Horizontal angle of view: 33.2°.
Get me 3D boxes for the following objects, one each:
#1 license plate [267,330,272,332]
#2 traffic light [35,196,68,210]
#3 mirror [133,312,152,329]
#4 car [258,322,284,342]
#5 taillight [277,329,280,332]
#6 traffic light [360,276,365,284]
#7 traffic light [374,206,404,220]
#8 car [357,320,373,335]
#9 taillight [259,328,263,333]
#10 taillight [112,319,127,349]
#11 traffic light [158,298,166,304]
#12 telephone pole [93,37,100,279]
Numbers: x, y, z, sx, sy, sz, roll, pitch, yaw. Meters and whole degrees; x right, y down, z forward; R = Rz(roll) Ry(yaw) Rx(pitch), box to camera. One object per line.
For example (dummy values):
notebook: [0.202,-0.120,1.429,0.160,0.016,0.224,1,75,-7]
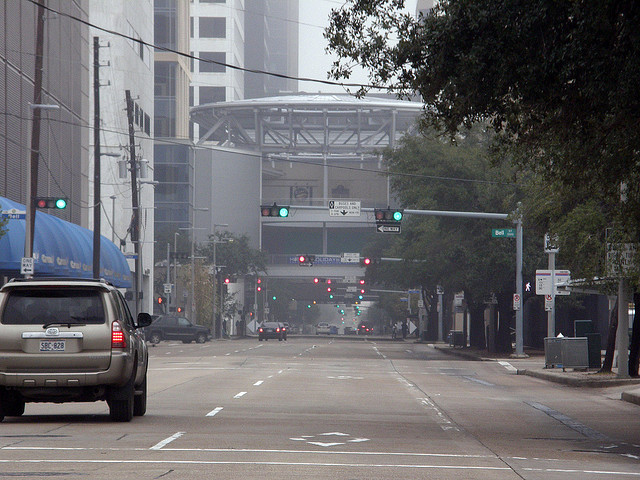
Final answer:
license plate: [-3.905,7.017,82.285,0.360,0.147,0.066,-3,-5,23]
traffic light: [-9.579,-1.290,38.082,1.110,0.359,0.617,0,-5,-8]
mirror: [-3.721,1.698,22.426,0.327,0.356,1.216,0,-6,-10]
car: [-3.862,7.101,82.784,1.824,1.425,1.474,-1,-5,7]
taillight: [-3.280,6.925,82.162,0.183,0.153,0.194,1,0,-2]
traffic light: [4.060,3.976,104.537,0.647,0.455,1.088,1,2,6]
traffic light: [2.738,-0.990,43.141,0.744,0.412,0.503,0,-2,-3]
car: [6.504,12.636,154.852,1.725,1.471,2.850,0,-8,-1]
taillight: [-4.614,6.984,82.475,0.222,0.340,0.376,1,-5,-21]
taillight: [-3.759,1.761,20.048,0.242,0.534,0.110,0,-4,-11]
traffic light: [-10.943,4.214,73.502,0.444,0.453,0.106,1,-1,-43]
telephone pole: [-10.236,-3.771,48.952,0.449,10.546,0.870,0,-1,-8]
